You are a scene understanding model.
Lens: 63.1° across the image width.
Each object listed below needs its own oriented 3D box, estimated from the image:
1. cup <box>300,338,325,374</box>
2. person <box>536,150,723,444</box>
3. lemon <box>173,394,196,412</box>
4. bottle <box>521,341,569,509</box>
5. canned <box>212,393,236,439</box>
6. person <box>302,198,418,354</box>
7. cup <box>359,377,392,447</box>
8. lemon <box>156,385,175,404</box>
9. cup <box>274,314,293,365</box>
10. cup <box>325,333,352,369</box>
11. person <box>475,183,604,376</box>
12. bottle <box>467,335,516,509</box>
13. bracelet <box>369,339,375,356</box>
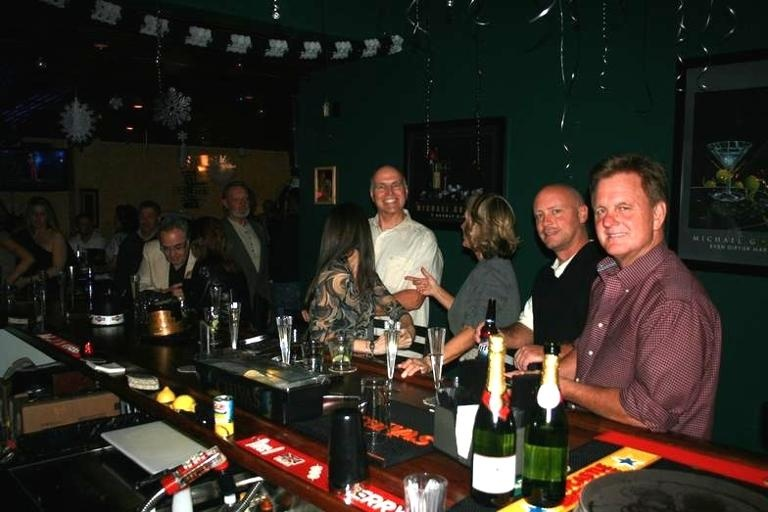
[{"bbox_3d":[-0.398,0.579,3.599,0.160,0.177,0.161,0,-3,0],"label":"cup"},{"bbox_3d":[1.321,0.181,3.172,0.695,1.391,0.586,6,9,32],"label":"person"},{"bbox_3d":[-1.028,0.751,3.226,0.101,0.081,0.078,-1,1,25],"label":"lemon"},{"bbox_3d":[0.662,0.678,2.549,0.179,0.663,0.146,2,8,9],"label":"bottle"},{"bbox_3d":[-0.782,0.758,3.039,0.097,0.189,0.210,-1,8,-14],"label":"canned"},{"bbox_3d":[-0.140,0.147,4.032,0.703,0.958,0.803,-1,8,-12],"label":"person"},{"bbox_3d":[-0.068,0.716,2.925,0.112,0.298,0.146,-7,11,-44],"label":"cup"},{"bbox_3d":[-1.176,0.731,3.347,0.085,0.056,0.084,-2,7,-27],"label":"lemon"},{"bbox_3d":[-0.545,0.477,3.560,0.086,0.254,0.089,4,-10,1],"label":"cup"},{"bbox_3d":[-0.254,0.553,3.626,0.136,0.220,0.148,1,8,0],"label":"cup"},{"bbox_3d":[1.117,0.235,4.230,0.924,1.416,0.901,1,-5,-13],"label":"person"},{"bbox_3d":[0.447,0.657,2.540,0.177,0.718,0.112,2,8,8],"label":"bottle"},{"bbox_3d":[-0.079,0.551,3.799,0.039,0.099,0.030,0,-3,-6],"label":"bracelet"}]
